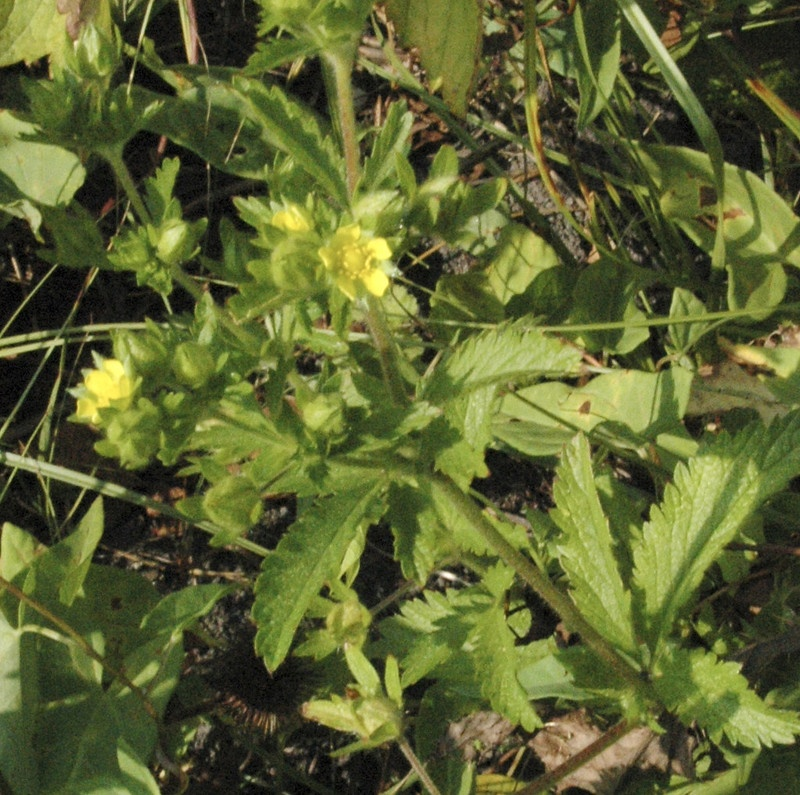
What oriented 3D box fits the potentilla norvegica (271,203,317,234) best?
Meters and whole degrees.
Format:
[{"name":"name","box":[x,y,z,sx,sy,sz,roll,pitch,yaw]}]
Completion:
[{"name":"potentilla norvegica","box":[-0.166,-0.274,1.383,0.069,0.068,0.033,5,15,42]}]

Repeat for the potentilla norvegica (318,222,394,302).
[{"name":"potentilla norvegica","box":[-0.064,-0.190,1.312,0.108,0.045,0.097,29,72,-17]}]

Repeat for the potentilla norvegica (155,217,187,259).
[{"name":"potentilla norvegica","box":[-0.376,-0.260,1.495,0.043,0.055,0.054,18,48,15]}]
